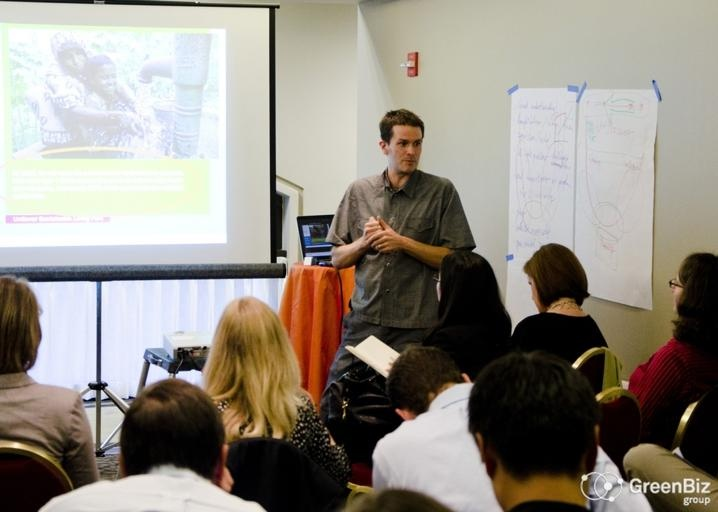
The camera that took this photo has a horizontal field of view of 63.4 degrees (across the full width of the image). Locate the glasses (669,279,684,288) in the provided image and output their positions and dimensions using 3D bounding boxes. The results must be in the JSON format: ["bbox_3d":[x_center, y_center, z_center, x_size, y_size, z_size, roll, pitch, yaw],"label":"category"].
[{"bbox_3d":[1.395,0.123,2.525,0.057,0.018,0.057,15,1,2],"label":"glasses"}]

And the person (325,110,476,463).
[{"bbox_3d":[0.184,0.273,3.042,0.716,1.960,0.611,4,12,10],"label":"person"}]

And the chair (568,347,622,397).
[{"bbox_3d":[0.981,0.451,2.324,0.137,0.193,0.367,3,8,36],"label":"chair"}]
